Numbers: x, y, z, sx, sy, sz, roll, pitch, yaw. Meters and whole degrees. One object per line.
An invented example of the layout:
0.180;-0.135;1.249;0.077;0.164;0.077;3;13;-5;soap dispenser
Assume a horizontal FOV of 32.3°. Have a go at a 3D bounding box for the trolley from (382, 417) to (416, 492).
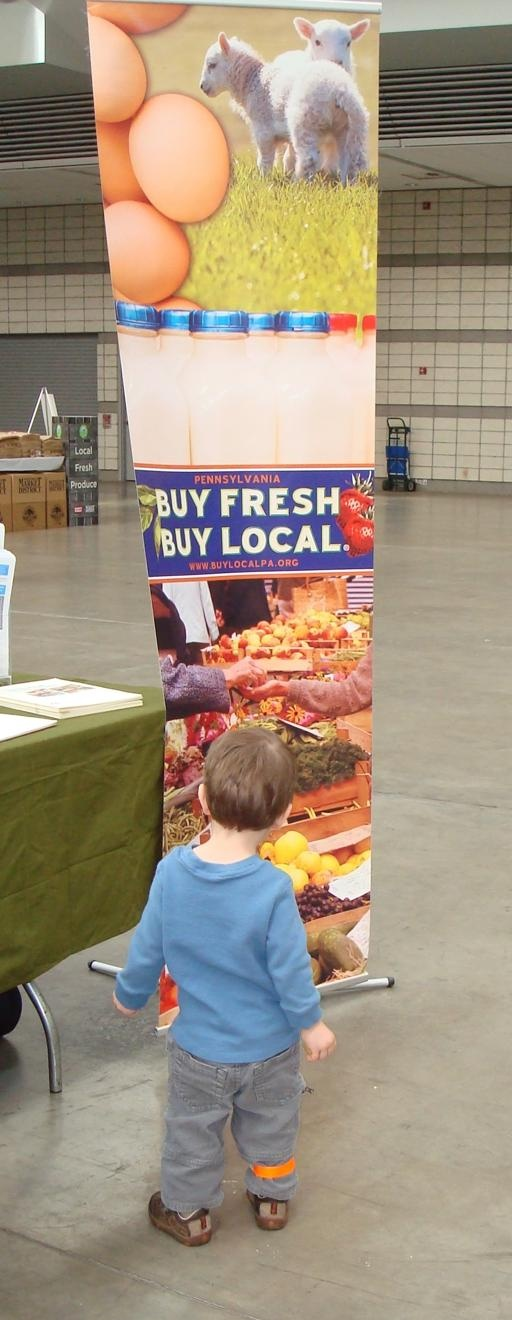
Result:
2.467;-3.537;15.139;0.533;1.263;0.704;0;2;11;trolley
